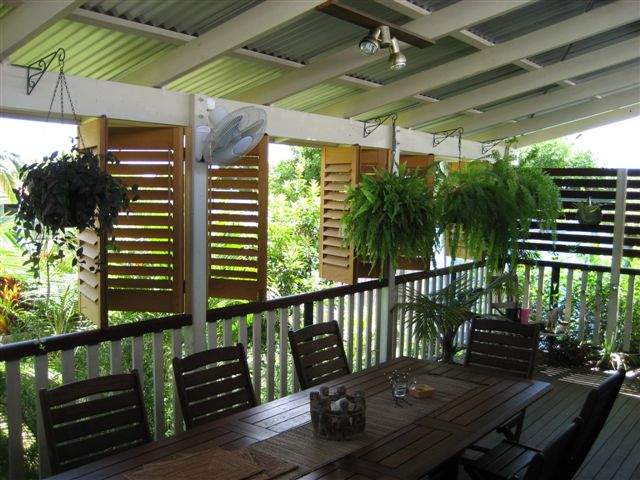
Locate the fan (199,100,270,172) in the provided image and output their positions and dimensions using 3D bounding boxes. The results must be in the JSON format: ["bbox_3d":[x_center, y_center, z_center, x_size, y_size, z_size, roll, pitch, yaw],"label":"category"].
[{"bbox_3d":[-0.600,-0.676,2.985,0.265,0.451,0.439,40,23,14],"label":"fan"}]

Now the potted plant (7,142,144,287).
[{"bbox_3d":[-1.309,-0.159,2.444,0.552,0.666,0.315,0,9,-19],"label":"potted plant"}]

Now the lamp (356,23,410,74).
[{"bbox_3d":[0.405,-1.177,2.866,0.198,0.190,0.487,7,9,27],"label":"lamp"}]

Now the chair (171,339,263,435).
[{"bbox_3d":[-0.604,0.820,2.906,0.411,0.681,0.501,-7,11,-38],"label":"chair"}]
